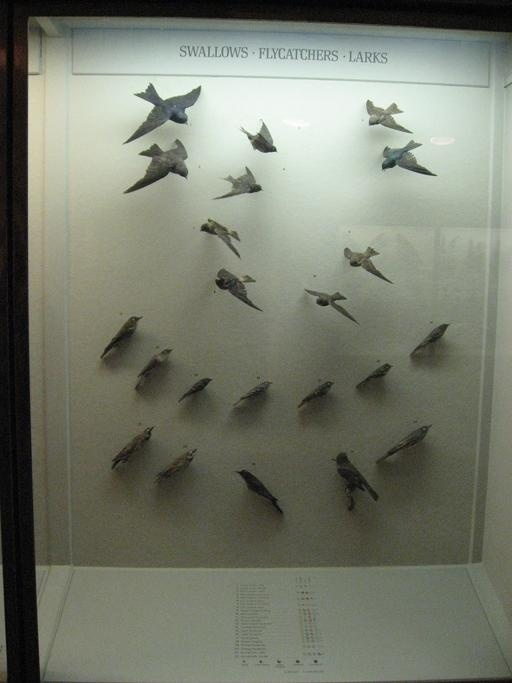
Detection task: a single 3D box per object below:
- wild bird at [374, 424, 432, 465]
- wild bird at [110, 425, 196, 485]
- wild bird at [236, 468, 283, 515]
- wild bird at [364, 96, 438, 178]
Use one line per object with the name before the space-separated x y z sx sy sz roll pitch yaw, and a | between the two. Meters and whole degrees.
wild bird | 0.572 0.383 2.493 0.290 0.084 0.069 -28 -85 2
wild bird | -0.387 0.446 2.465 0.254 0.057 0.205 28 -76 -12
wild bird | 0.021 0.564 2.467 0.250 0.090 0.072 38 -110 -10
wild bird | 0.511 -0.738 2.375 0.164 0.077 0.341 -25 -72 4
